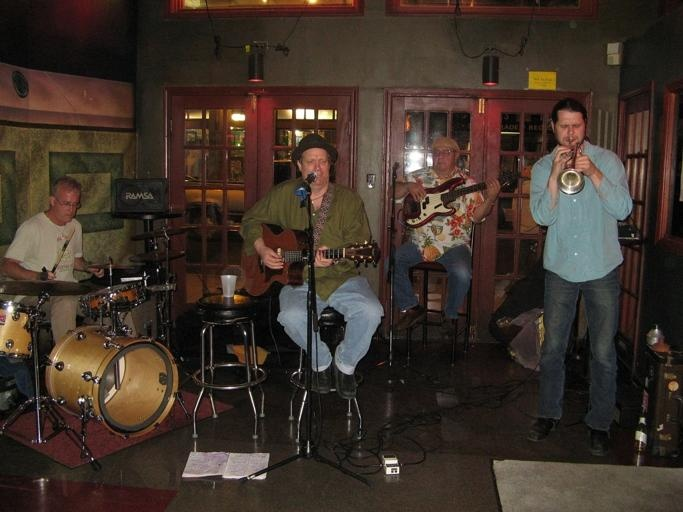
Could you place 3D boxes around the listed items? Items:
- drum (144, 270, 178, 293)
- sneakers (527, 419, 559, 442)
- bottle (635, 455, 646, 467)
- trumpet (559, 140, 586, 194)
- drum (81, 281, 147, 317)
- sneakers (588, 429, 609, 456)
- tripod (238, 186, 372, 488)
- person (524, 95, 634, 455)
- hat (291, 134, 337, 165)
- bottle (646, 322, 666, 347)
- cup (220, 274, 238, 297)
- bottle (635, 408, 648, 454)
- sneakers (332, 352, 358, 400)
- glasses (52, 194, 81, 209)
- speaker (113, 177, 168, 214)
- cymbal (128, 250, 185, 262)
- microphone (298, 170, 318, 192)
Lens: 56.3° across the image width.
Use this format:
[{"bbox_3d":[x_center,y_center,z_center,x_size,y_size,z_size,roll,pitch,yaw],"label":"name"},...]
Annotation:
[{"bbox_3d":[-1.348,0.206,4.691,0.252,0.095,0.184,-4,5,12],"label":"drum"},{"bbox_3d":[1.409,1.221,4.494,0.101,0.126,0.307,23,5,41],"label":"sneakers"},{"bbox_3d":[1.964,1.347,4.214,0.056,0.087,0.055,1,12,0],"label":"bottle"},{"bbox_3d":[1.446,-0.550,3.981,0.146,0.322,0.080,16,14,20],"label":"trumpet"},{"bbox_3d":[-1.552,0.244,4.363,0.278,0.103,0.288,-15,8,2],"label":"drum"},{"bbox_3d":[1.729,1.264,4.305,0.086,0.093,0.225,-2,3,23],"label":"sneakers"},{"bbox_3d":[-0.254,0.441,4.362,0.759,1.881,1.172,0,5,-6],"label":"tripod"},{"bbox_3d":[1.553,0.153,4.248,0.626,2.337,0.476,2,6,16],"label":"person"},{"bbox_3d":[-0.195,-0.784,4.629,0.324,0.195,0.263,0,5,-4],"label":"hat"},{"bbox_3d":[2.157,0.541,4.405,0.087,0.131,0.273,3,6,24],"label":"bottle"},{"bbox_3d":[-0.838,0.229,4.833,0.164,0.176,0.162,0,0,0],"label":"cup"},{"bbox_3d":[2.026,1.183,4.319,0.070,0.271,0.145,4,7,34],"label":"bottle"},{"bbox_3d":[0.038,0.839,4.605,0.135,0.158,0.353,-5,49,-21],"label":"sneakers"},{"bbox_3d":[-2.157,-0.435,4.983,0.163,0.068,0.127,8,9,35],"label":"glasses"},{"bbox_3d":[-1.885,-0.563,6.031,0.580,0.380,0.310,0,-1,-2],"label":"speaker"},{"bbox_3d":[-1.565,0.008,5.393,0.370,0.111,0.363,1,5,9],"label":"cymbal"},{"bbox_3d":[-0.219,-0.454,3.989,0.109,0.124,0.239,0,5,-4],"label":"microphone"}]
